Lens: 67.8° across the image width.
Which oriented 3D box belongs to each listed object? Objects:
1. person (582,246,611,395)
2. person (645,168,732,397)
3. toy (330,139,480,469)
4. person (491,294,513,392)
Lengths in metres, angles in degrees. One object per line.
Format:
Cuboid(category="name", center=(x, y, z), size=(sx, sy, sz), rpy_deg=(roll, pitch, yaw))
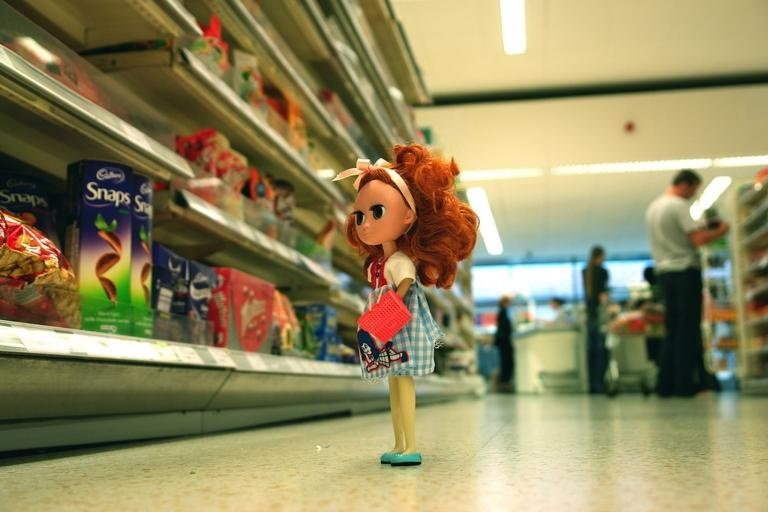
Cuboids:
Cuboid(category="person", center=(1.580, 0.492, 4.215), size=(0.232, 1.048, 0.418), rpy_deg=(-7, -14, 16))
Cuboid(category="person", center=(2.267, 0.192, 4.306), size=(0.604, 1.694, 0.262), rpy_deg=(-10, -16, 27))
Cuboid(category="toy", center=(0.098, 0.129, 1.931), size=(0.483, 1.063, 0.337), rpy_deg=(-5, -14, 8))
Cuboid(category="person", center=(1.180, 0.937, 5.635), size=(0.218, 0.803, 1.036), rpy_deg=(-6, -13, 10))
